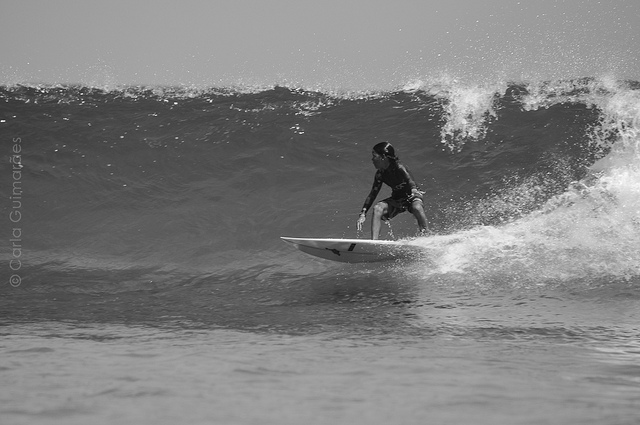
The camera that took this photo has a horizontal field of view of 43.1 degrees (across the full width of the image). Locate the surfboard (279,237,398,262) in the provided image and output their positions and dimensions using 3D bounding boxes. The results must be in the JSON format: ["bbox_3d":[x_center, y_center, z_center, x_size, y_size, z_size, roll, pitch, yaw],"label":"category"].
[{"bbox_3d":[0.087,0.605,13.503,3.227,0.370,0.350,1,-3,-1],"label":"surfboard"}]

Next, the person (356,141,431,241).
[{"bbox_3d":[1.222,-0.360,13.651,1.125,1.646,0.552,-2,-12,3],"label":"person"}]
